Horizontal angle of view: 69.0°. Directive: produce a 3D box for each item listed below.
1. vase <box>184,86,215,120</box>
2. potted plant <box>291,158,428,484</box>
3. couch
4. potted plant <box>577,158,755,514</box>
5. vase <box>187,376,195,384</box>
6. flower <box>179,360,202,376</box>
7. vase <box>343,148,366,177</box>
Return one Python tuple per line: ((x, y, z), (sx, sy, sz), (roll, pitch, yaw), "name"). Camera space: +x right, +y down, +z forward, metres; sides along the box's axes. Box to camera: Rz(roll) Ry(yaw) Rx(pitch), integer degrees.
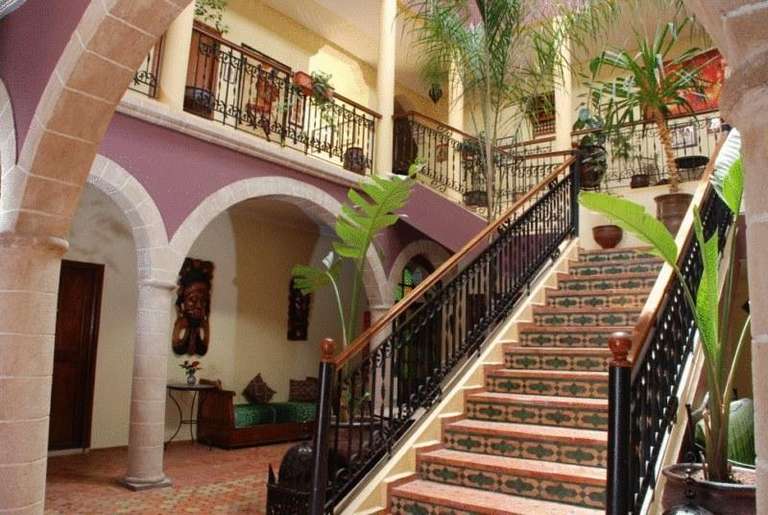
((-2.607, -2.107, 7.927), (0.500, 0.519, 0.512), (2, 1, -20), "vase")
((-0.420, 0.380, 6.892), (1.749, 2.892, 1.337), (-5, 15, -42), "potted plant")
((-2.156, 2.661, 9.888), (0.909, 1.086, 2.115), (-4, -11, 35), "couch")
((2.275, 0.600, 4.292), (0.842, 2.524, 2.337), (-6, -11, 37), "potted plant")
((-3.137, 1.994, 9.115), (0.119, 0.152, 0.123), (-1, -2, 8), "vase")
((-3.219, 1.837, 9.344), (0.306, 0.221, 0.308), (13, -21, -35), "flower")
((-0.497, -1.547, 9.130), (0.174, 0.502, 0.501), (-6, -9, 34), "vase")
